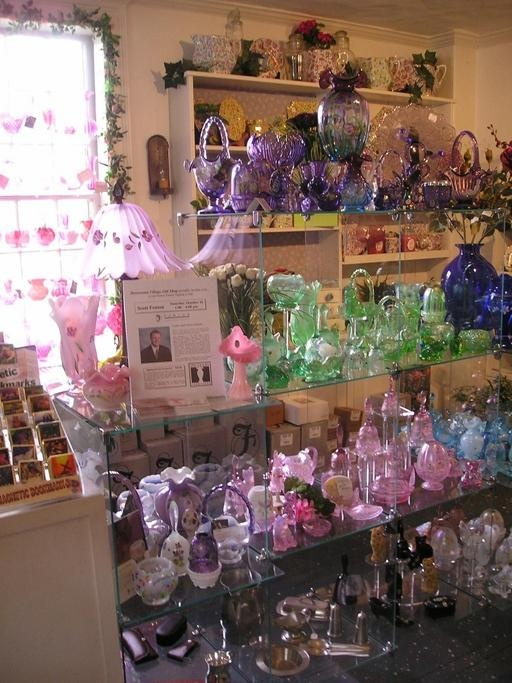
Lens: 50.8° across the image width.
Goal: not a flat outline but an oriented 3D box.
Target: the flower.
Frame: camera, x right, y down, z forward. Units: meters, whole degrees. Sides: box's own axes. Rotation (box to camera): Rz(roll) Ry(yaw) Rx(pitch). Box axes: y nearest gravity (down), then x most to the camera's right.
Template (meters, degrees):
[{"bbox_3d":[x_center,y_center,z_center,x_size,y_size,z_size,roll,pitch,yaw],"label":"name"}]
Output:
[{"bbox_3d":[-0.049,-0.100,1.311,0.047,0.175,0.181,-12,15,-37],"label":"flower"}]

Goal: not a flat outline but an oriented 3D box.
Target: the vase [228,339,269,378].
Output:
[{"bbox_3d":[-0.024,0.033,1.238,0.076,0.073,0.086,1,13,3],"label":"vase"}]

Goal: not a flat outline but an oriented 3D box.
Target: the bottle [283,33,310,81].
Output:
[{"bbox_3d":[0.236,-1.729,3.317,0.104,0.312,0.076,1,-1,9],"label":"bottle"}]

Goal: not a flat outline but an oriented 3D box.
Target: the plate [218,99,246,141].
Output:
[{"bbox_3d":[-0.128,-1.262,3.065,0.173,0.243,0.054,-18,13,-40],"label":"plate"}]
